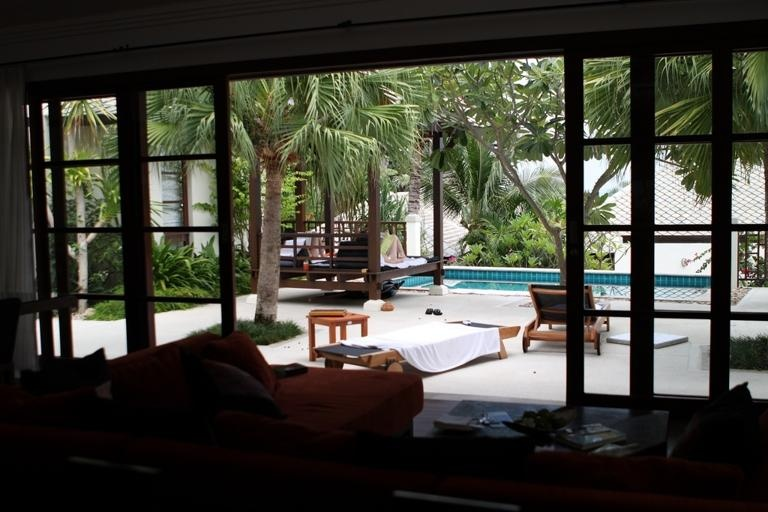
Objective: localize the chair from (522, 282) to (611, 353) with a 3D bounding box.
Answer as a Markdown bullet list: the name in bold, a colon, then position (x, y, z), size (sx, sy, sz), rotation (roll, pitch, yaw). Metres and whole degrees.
- **chair**: position (2.133, 0.431, 6.849), size (0.822, 0.631, 1.274), rotation (-5, 5, 10)

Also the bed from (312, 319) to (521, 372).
- **bed**: position (0.463, 0.905, 5.821), size (0.791, 0.281, 1.393), rotation (1, 3, 40)

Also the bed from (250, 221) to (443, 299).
- **bed**: position (-0.384, 0.080, 10.749), size (2.053, 0.895, 2.046), rotation (1, 5, 20)

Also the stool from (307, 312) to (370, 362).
- **stool**: position (-0.662, 0.877, 6.710), size (0.600, 0.548, 0.592), rotation (0, 0, -45)
